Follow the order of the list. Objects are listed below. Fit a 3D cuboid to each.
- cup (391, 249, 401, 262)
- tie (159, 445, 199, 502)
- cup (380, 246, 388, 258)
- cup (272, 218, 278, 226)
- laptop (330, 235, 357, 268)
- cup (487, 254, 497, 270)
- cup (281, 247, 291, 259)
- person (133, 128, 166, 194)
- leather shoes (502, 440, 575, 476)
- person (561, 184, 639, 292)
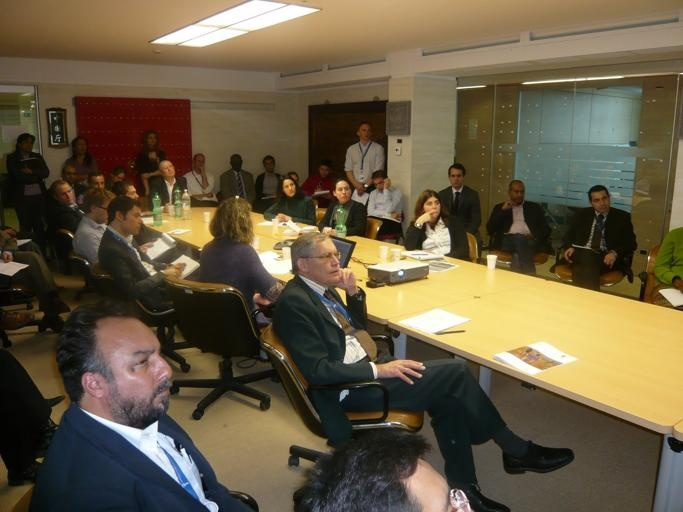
[{"bbox_3d":[0.497,-0.009,4.752,0.092,0.074,0.095,0,3,0],"label":"cup"},{"bbox_3d":[-0.590,0.834,2.018,0.052,0.204,0.154,-42,5,-9],"label":"tie"},{"bbox_3d":[0.393,-0.035,4.825,0.088,0.100,0.087,-1,4,0],"label":"cup"},{"bbox_3d":[-0.783,-0.395,6.126,0.072,0.079,0.073,0,0,0],"label":"cup"},{"bbox_3d":[0.013,-0.033,4.479,0.285,0.275,0.220,0,-1,-45],"label":"laptop"},{"bbox_3d":[1.367,0.059,4.640,0.125,0.127,0.133,3,8,0],"label":"cup"},{"bbox_3d":[-0.523,-0.033,5.019,0.132,0.131,0.131,0,1,0],"label":"cup"},{"bbox_3d":[-3.627,-1.618,9.786,0.400,1.334,0.419,9,29,-24],"label":"person"},{"bbox_3d":[1.108,1.160,3.041,0.416,0.192,0.176,-10,16,15],"label":"leather shoes"},{"bbox_3d":[3.108,-0.021,6.338,0.785,1.655,1.009,3,2,22],"label":"person"}]
